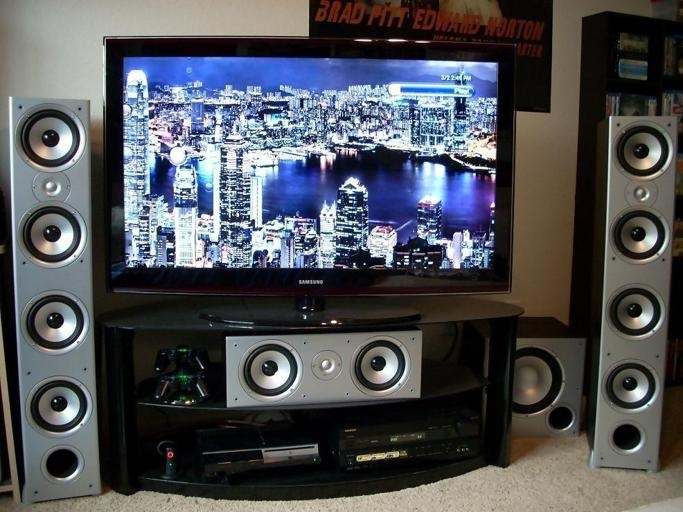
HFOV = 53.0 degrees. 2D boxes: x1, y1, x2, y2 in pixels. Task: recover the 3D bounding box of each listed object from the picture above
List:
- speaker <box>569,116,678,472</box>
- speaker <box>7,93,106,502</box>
[{"bbox_3d":[1.330,0.174,3.153,0.344,1.609,0.310,1,8,19],"label":"speaker"},{"bbox_3d":[-1.210,0.195,2.886,0.314,1.693,0.235,0,8,8],"label":"speaker"}]
